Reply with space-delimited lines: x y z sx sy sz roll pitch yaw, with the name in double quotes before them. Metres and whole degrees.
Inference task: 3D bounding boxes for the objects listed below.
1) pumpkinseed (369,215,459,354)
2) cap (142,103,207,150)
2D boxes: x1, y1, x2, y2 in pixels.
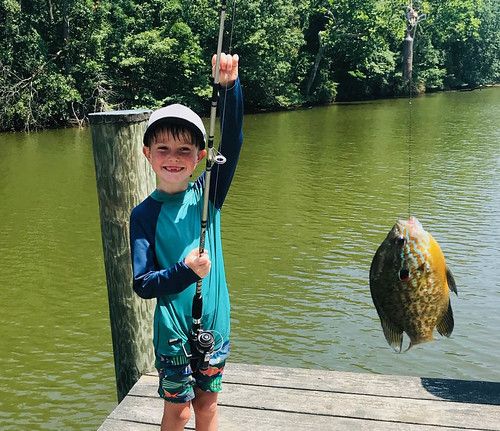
"pumpkinseed" 0.887 0.402 4.135 0.427 0.786 0.131 0 15 6
"cap" -0.441 -0.516 4.377 0.370 0.268 0.201 -3 14 -7
